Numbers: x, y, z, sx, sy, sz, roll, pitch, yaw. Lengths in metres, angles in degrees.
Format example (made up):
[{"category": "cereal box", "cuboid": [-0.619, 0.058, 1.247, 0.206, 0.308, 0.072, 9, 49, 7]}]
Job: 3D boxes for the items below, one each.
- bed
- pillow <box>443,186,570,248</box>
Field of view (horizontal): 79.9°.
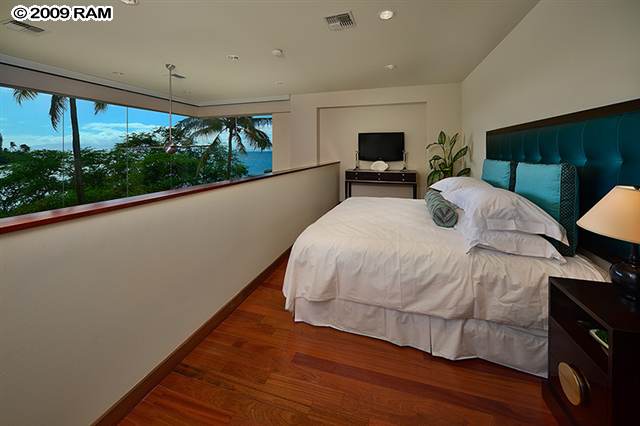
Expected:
[{"category": "bed", "cuboid": [1.176, 0.205, 3.707, 2.315, 1.512, 2.385, 3, 14, 16]}, {"category": "pillow", "cuboid": [1.555, -0.029, 3.354, 0.432, 0.170, 0.701, 12, 15, -1]}]
